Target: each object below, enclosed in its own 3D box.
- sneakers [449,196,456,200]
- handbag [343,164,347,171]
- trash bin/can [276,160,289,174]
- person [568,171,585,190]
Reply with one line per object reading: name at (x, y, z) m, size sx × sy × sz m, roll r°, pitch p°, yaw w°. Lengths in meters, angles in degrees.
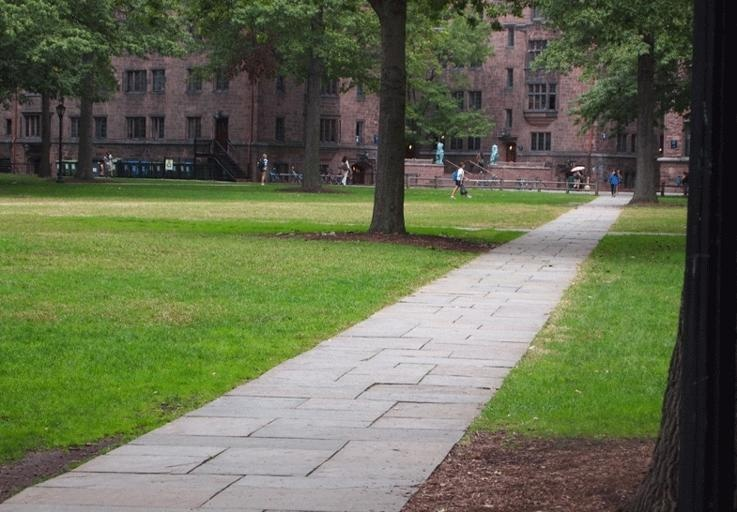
sneakers at (3.634, -2.543, 57.930) m, size 0.150 × 0.170 × 0.423 m, roll 2°, pitch -2°, yaw -26°
handbag at (-1.351, -5.144, 77.162) m, size 0.247 × 0.378 × 0.409 m, roll -2°, pitch 5°, yaw -12°
trash bin/can at (-5.250, -5.446, 81.028) m, size 0.889 × 0.763 × 0.778 m, roll 0°, pitch 0°, yaw -2°
person at (13.349, -4.759, 85.004) m, size 0.963 × 1.082 × 1.859 m, roll -1°, pitch 3°, yaw 3°
